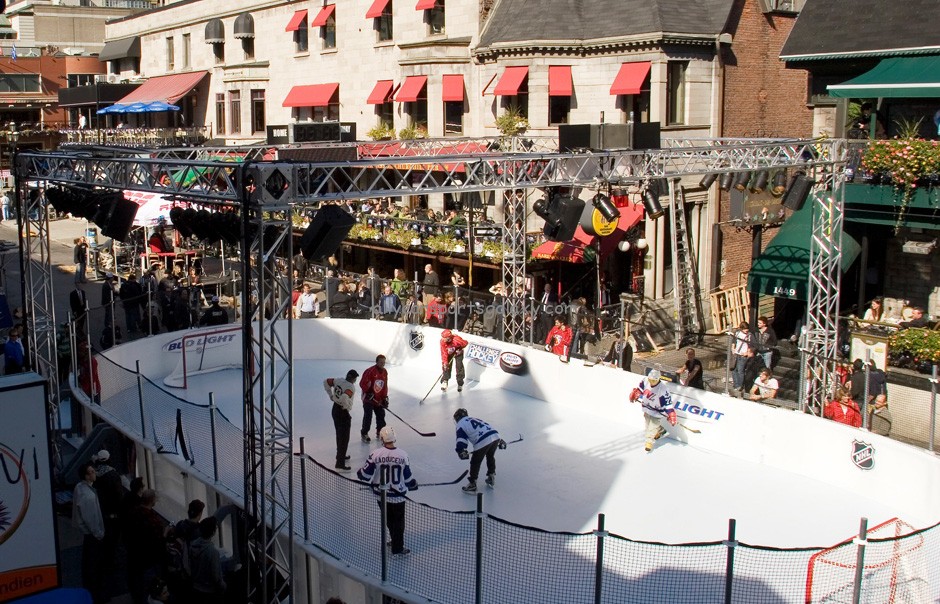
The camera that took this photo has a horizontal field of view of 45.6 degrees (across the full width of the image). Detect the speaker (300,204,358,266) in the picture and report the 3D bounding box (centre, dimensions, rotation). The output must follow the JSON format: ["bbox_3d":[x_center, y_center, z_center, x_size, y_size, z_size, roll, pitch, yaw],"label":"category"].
[{"bbox_3d":[-3.300,-1.568,25.887,1.034,1.306,0.702,8,8,36],"label":"speaker"}]

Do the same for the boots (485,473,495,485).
[{"bbox_3d":[0.501,4.438,27.958,0.122,0.262,0.379,0,10,-10],"label":"boots"}]

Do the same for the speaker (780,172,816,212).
[{"bbox_3d":[9.811,-3.338,33.661,0.803,1.246,0.865,8,9,-29],"label":"speaker"}]

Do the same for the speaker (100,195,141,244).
[{"bbox_3d":[-9.880,-2.352,31.461,0.964,1.287,0.518,7,7,31],"label":"speaker"}]

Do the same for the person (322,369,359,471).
[{"bbox_3d":[-3.242,3.040,28.810,0.871,2.517,0.887,-4,10,-41],"label":"person"}]

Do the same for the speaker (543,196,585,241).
[{"bbox_3d":[2.658,-2.322,31.642,1.054,1.230,0.696,4,6,8],"label":"speaker"}]
